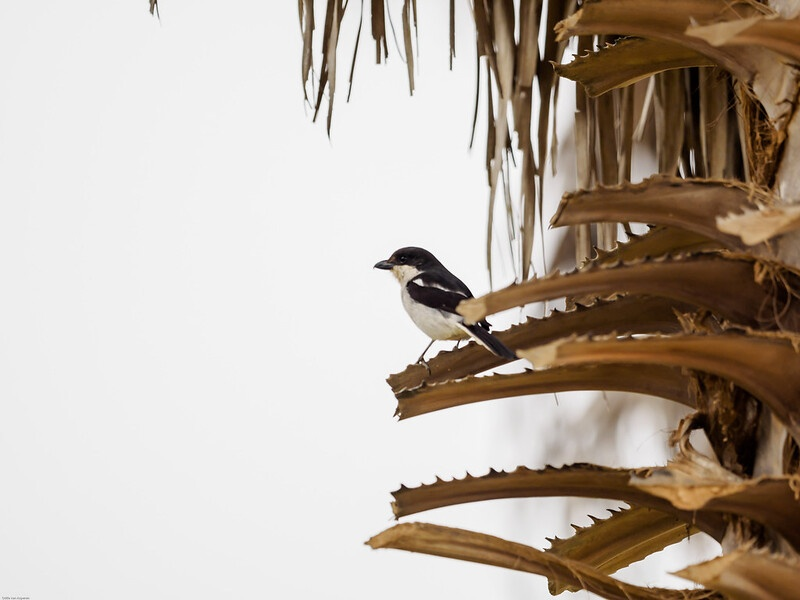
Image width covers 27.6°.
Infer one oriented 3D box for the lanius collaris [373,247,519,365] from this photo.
[{"bbox_3d":[0.219,0.004,6.646,0.234,0.762,0.469,4,-90,-43],"label":"lanius collaris"}]
